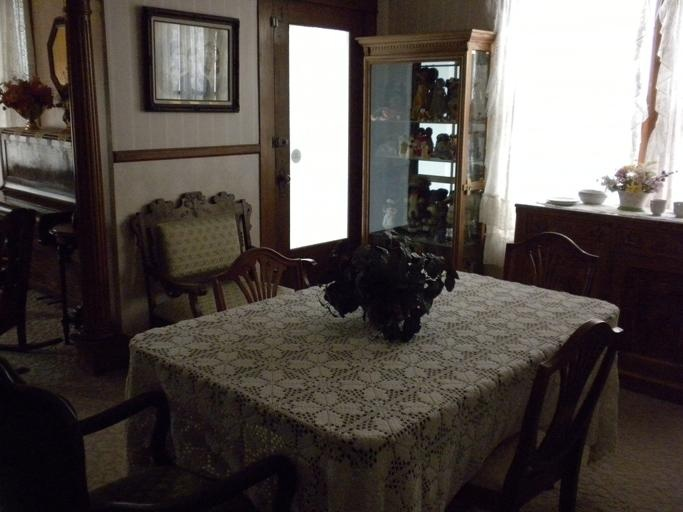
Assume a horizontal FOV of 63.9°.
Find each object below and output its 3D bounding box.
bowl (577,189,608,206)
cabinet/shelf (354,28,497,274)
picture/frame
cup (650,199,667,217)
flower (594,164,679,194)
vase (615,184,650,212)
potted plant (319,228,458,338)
[{"bbox_3d":[1.723,-0.403,3.773,0.119,0.075,0.124,5,14,-1],"label":"bowl"},{"bbox_3d":[0.649,-0.822,4.430,1.060,1.825,0.343,9,15,32],"label":"cabinet/shelf"},{"bbox_3d":[-1.061,-1.338,3.677,0.751,0.704,0.089,-8,11,-42],"label":"picture/frame"},{"bbox_3d":[1.933,-0.298,3.354,0.093,0.107,0.091,-1,14,0],"label":"cup"},{"bbox_3d":[1.886,-0.539,3.511,0.217,0.162,0.331,-5,13,-20],"label":"flower"},{"bbox_3d":[1.861,-0.361,3.486,0.136,0.107,0.145,0,9,7],"label":"vase"},{"bbox_3d":[0.187,0.123,2.143,0.405,0.318,0.409,16,-11,-28],"label":"potted plant"}]
